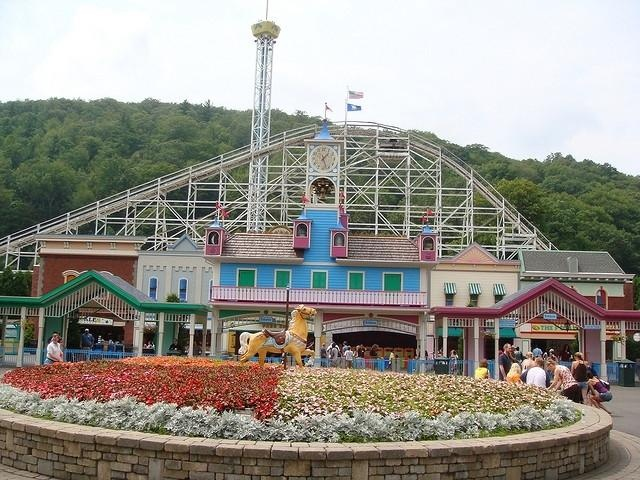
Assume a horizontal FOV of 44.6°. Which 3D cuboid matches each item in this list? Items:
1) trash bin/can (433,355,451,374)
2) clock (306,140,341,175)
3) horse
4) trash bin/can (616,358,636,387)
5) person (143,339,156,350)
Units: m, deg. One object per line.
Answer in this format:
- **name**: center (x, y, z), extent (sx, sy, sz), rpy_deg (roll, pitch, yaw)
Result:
- **trash bin/can**: center (4.557, 4.678, 29.288), extent (0.680, 0.616, 0.625), rpy_deg (0, -10, 1)
- **clock**: center (0.117, -4.109, 39.487), extent (1.669, 1.476, 0.125), rpy_deg (-1, 9, -24)
- **horse**: center (-1.301, 3.051, 24.219), extent (2.567, 1.807, 0.815), rpy_deg (-4, -10, 9)
- **trash bin/can**: center (12.848, 5.616, 32.856), extent (0.548, 1.086, 0.611), rpy_deg (1, -10, 4)
- **person**: center (-8.904, 5.462, 40.745), extent (0.734, 0.419, 0.713), rpy_deg (4, -6, -36)
